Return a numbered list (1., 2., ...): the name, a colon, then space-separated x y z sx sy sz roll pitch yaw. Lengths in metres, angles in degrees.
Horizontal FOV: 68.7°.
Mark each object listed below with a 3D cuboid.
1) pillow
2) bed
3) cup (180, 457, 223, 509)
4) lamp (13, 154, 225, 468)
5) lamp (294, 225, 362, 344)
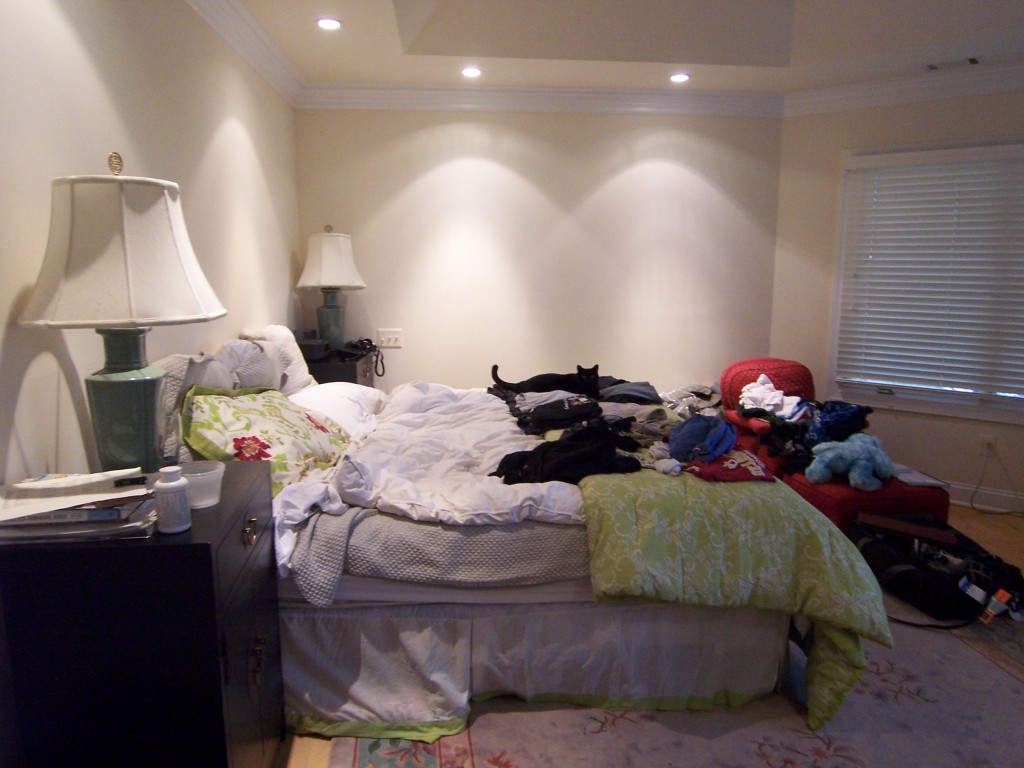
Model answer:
1. pillow: -1.006 0.207 2.974 0.428 0.130 0.433 41 23 26
2. bed: 0.113 0.626 2.932 1.731 0.873 1.901 -2 18 -4
3. cup: -0.874 0.284 2.143 0.117 0.100 0.111 -1 7 0
4. lamp: -1.284 -0.185 2.485 0.638 1.006 0.632 -3 7 -21
5. lamp: -1.177 -0.601 4.826 0.440 0.798 0.462 -2 1 9
